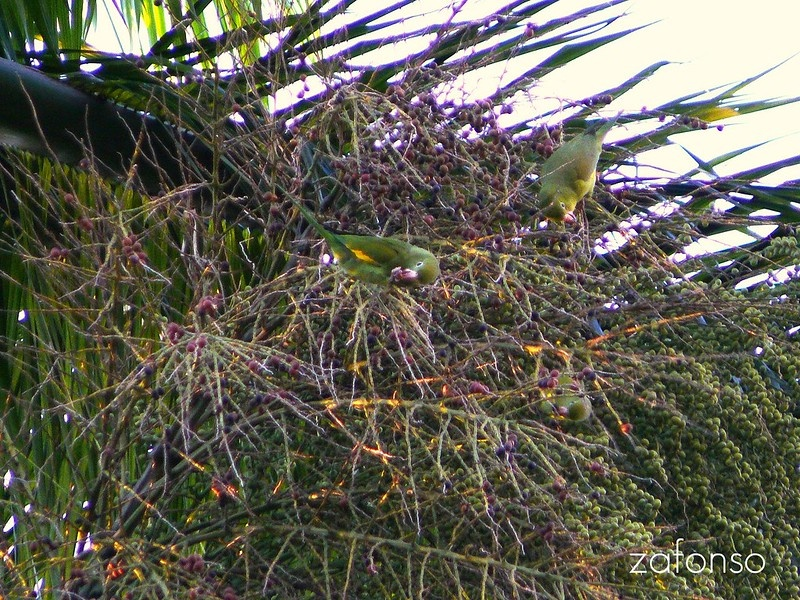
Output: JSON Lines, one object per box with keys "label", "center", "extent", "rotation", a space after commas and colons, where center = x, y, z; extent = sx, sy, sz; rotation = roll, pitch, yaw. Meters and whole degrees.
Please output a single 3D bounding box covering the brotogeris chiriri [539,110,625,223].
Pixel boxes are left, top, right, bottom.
{"label": "brotogeris chiriri", "center": [0.591, -0.449, 3.883], "extent": [0.186, 0.374, 0.277], "rotation": [29, 33, 5]}
